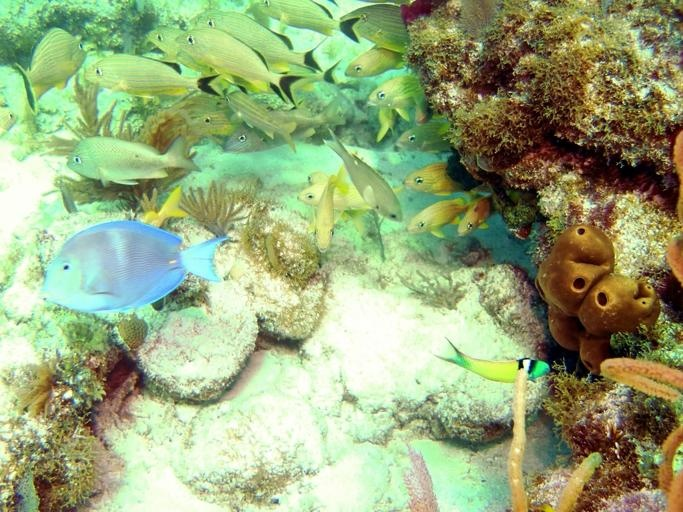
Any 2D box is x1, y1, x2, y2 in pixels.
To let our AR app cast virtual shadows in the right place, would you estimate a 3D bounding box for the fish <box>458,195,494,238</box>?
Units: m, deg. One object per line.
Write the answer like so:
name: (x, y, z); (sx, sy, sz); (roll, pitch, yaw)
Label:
fish: (1.559, -0.466, 8.141); (0.227, 0.476, 0.156); (45, -5, -27)
